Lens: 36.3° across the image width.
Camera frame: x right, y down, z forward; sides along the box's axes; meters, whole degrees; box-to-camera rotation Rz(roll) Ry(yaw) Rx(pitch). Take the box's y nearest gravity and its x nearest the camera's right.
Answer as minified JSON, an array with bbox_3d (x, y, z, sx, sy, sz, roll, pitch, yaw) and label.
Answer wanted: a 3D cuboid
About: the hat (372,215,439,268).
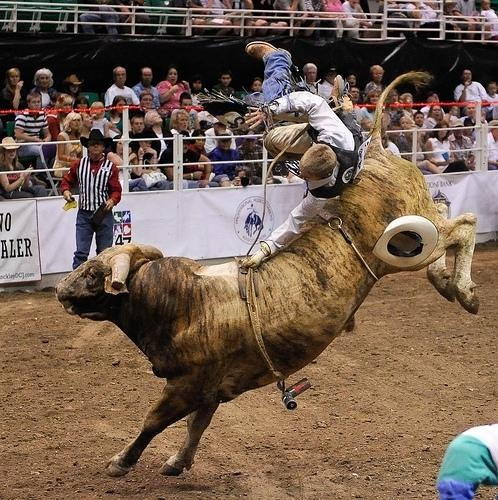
[{"bbox_3d":[1.072,-0.054,5.158,0.521,0.321,0.181,3,24,-6],"label":"hat"}]

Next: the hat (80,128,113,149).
[{"bbox_3d":[-1.872,-1.395,9.163,0.489,0.148,0.446,1,-19,-5],"label":"hat"}]

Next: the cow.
[{"bbox_3d":[0.005,0.478,5.168,2.501,2.099,0.652,-1,17,-11],"label":"cow"}]

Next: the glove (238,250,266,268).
[{"bbox_3d":[0.041,0.069,5.055,0.192,0.058,0.096,-28,-44,19],"label":"glove"}]

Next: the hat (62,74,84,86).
[{"bbox_3d":[-2.983,-2.854,12.747,0.340,0.120,0.369,-5,-6,-25],"label":"hat"}]
